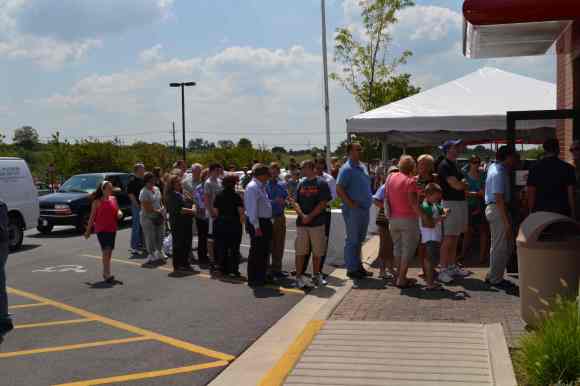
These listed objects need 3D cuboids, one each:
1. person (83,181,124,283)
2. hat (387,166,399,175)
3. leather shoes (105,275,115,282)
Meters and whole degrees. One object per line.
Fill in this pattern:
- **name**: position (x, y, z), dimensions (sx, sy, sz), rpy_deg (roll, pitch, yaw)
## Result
- **person**: position (-4.061, 0.795, 10.800), dimensions (0.778, 2.150, 1.125), rpy_deg (-7, 10, -22)
- **hat**: position (2.128, -0.469, 10.301), dimensions (0.217, 0.100, 0.255), rpy_deg (-20, -13, -12)
- **leather shoes**: position (-3.832, 1.817, 10.500), dimensions (0.184, 0.133, 0.167), rpy_deg (-8, 11, -28)
